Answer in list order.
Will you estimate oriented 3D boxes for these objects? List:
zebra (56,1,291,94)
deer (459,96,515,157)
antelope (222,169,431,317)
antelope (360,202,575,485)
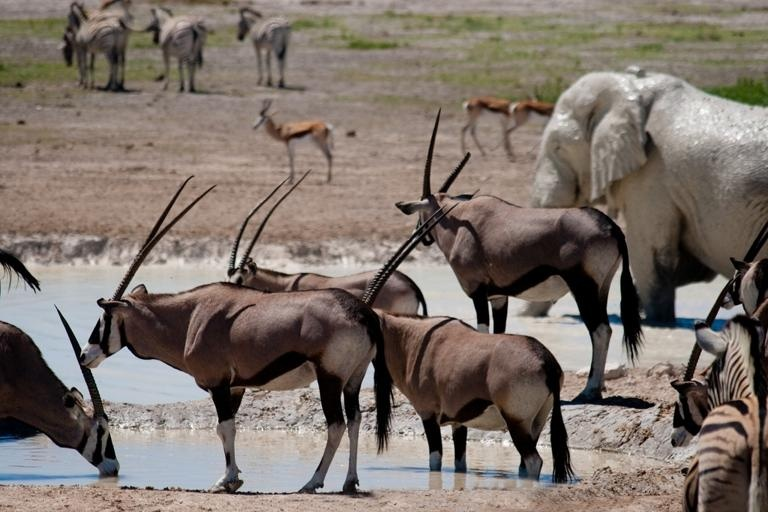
[{"bbox_3d":[-5.124,-5.260,37.756,5.538,2.075,3.898,-2,16,-11],"label":"zebra"},{"bbox_3d":[2.358,-3.170,35.085,1.901,1.768,0.936,1,-6,6],"label":"deer"},{"bbox_3d":[-0.852,0.354,20.764,2.850,2.777,0.892,4,-3,5],"label":"antelope"},{"bbox_3d":[0.783,1.280,18.439,3.016,2.921,0.955,1,8,23],"label":"antelope"}]
